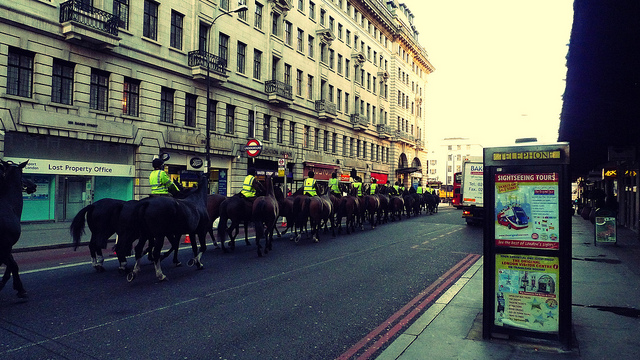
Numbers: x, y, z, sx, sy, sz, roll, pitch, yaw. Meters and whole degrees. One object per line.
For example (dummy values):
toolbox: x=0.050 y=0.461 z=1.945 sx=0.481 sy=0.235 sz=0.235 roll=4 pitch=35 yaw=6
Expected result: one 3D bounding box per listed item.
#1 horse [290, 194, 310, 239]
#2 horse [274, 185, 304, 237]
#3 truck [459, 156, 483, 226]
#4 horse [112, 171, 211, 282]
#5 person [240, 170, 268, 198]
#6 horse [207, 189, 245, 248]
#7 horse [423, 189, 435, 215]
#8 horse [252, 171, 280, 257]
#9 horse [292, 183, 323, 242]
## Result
horse: x=-1.285 y=1.595 z=28.603 sx=0.710 sy=2.436 sz=3.203 roll=7 pitch=3 yaw=-7
horse: x=-1.800 y=1.681 z=28.826 sx=1.017 sy=2.764 sz=4.060 roll=2 pitch=0 yaw=-27
truck: x=9.742 y=0.682 z=34.668 sx=1.512 sy=4.307 sz=2.215 roll=5 pitch=-29 yaw=1
horse: x=-5.981 y=1.758 z=22.295 sx=1.656 sy=4.254 sz=6.320 roll=-3 pitch=-1 yaw=25
person: x=-3.132 y=0.177 z=25.385 sx=0.809 sy=1.387 sz=1.041 roll=14 pitch=7 yaw=34
horse: x=-4.344 y=1.822 z=25.317 sx=3.373 sy=2.576 sz=0.874 roll=1 pitch=4 yaw=41
horse: x=9.403 y=1.881 z=46.710 sx=0.891 sy=2.147 sz=1.720 roll=-2 pitch=-2 yaw=14
horse: x=-2.512 y=1.565 z=24.738 sx=0.869 sy=3.693 sz=1.925 roll=-2 pitch=-2 yaw=17
horse: x=-0.621 y=1.702 z=28.021 sx=0.879 sy=3.000 sz=3.880 roll=4 pitch=31 yaw=12
